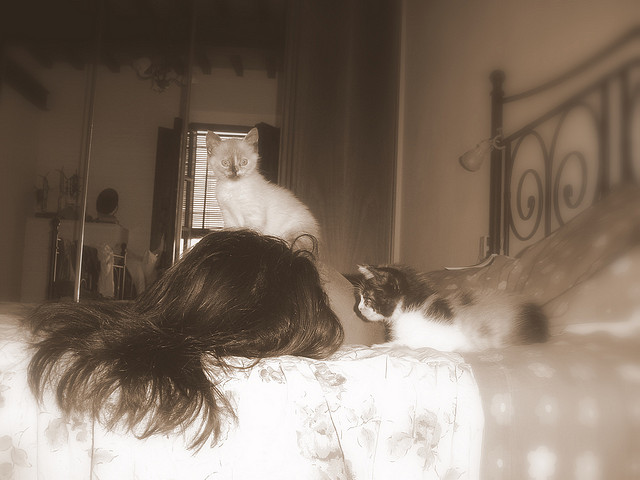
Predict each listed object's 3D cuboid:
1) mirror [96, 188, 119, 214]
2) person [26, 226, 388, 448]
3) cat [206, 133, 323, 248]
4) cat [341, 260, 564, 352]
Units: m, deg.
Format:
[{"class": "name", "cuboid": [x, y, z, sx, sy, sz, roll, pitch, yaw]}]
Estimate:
[{"class": "mirror", "cuboid": [-1.047, -0.191, 3.210, 0.089, 0.124, 0.032, 24, -21, -35]}, {"class": "person", "cuboid": [-0.318, 0.252, 1.814, 0.743, 0.258, 0.609, -8, 33, -32]}, {"class": "cat", "cuboid": [-0.250, -0.219, 3.047, 0.614, 0.727, 0.246, -10, 28, -33]}, {"class": "cat", "cuboid": [0.380, 0.213, 1.899, 0.632, 0.317, 0.219, 1, -12, 4]}]
